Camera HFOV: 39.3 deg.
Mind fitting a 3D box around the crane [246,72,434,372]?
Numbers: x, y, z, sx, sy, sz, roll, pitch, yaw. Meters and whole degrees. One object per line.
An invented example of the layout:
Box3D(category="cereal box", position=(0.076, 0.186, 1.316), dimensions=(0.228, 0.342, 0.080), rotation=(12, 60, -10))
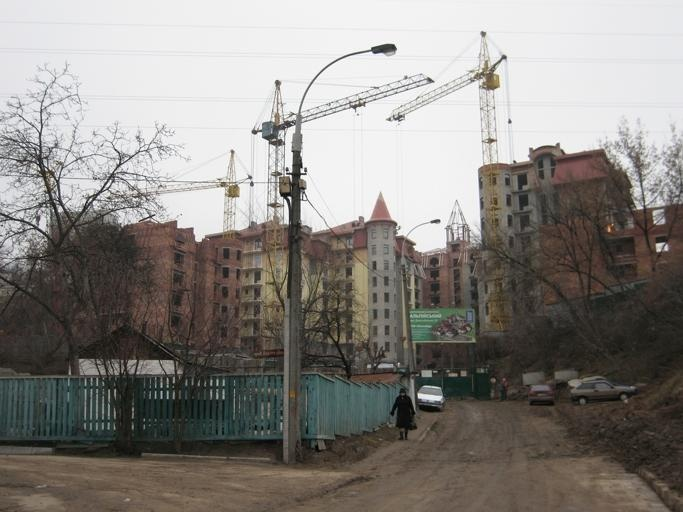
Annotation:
Box3D(category="crane", position=(-0.358, 1.562, 86.356), dimensions=(8.143, 36.086, 16.580), rotation=(9, -12, -15))
